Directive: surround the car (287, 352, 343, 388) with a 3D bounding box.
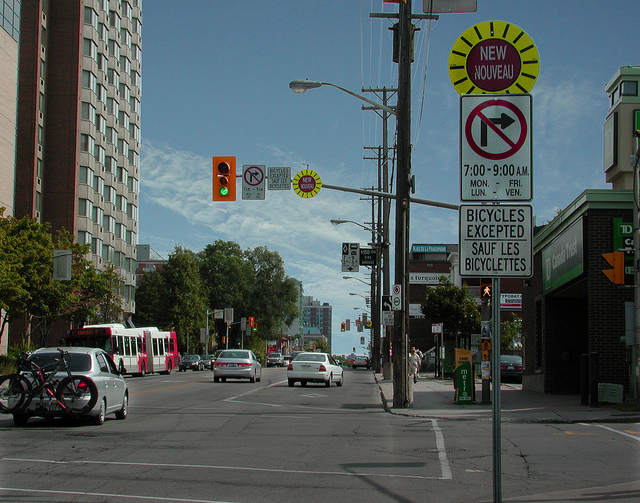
[{"bbox_3d":[-0.068,5.615,38.920,1.805,1.854,4.836,-1,-8,13],"label":"car"}]

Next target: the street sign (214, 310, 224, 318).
[{"bbox_3d":[-11.091,6.842,89.442,0.878,0.794,0.974,-1,1,-1],"label":"street sign"}]

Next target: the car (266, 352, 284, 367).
[{"bbox_3d":[-5.271,12.637,95.391,1.179,1.330,2.439,0,-12,-2],"label":"car"}]

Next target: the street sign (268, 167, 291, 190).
[{"bbox_3d":[-1.317,-2.400,26.492,0.742,0.794,0.752,1,-10,-4],"label":"street sign"}]

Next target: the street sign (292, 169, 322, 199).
[{"bbox_3d":[-0.419,-2.300,27.533,0.933,1.213,1.212,0,-10,-1],"label":"street sign"}]

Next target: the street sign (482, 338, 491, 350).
[{"bbox_3d":[5.216,2.866,25.484,0.230,0.366,0.732,-1,-11,7],"label":"street sign"}]

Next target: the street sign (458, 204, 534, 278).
[{"bbox_3d":[2.303,-0.139,10.629,0.964,0.960,0.428,-1,-9,9],"label":"street sign"}]

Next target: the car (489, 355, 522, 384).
[{"bbox_3d":[9.921,5.871,42.136,1.052,1.648,6.579,-2,-12,13],"label":"car"}]

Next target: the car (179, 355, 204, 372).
[{"bbox_3d":[-10.887,9.336,68.434,1.737,1.537,5.187,-1,-12,6],"label":"car"}]

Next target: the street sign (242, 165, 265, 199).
[{"bbox_3d":[-2.126,-2.279,26.148,0.768,1.326,0.032,0,35,-9],"label":"street sign"}]

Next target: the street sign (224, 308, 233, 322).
[{"bbox_3d":[-9.334,6.674,85.147,0.940,1.718,1.054,2,-3,-33],"label":"street sign"}]

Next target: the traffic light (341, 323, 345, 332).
[{"bbox_3d":[2.800,8.877,97.702,0.289,0.742,0.757,-1,-10,9],"label":"traffic light"}]

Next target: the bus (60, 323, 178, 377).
[{"bbox_3d":[-11.792,6.200,50.402,2.562,3.476,11.335,-6,-8,10],"label":"bus"}]

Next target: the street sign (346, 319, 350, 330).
[{"bbox_3d":[3.338,8.799,98.440,0.252,1.133,1.055,-3,-10,19],"label":"street sign"}]

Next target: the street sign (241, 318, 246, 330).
[{"bbox_3d":[-8.677,8.061,92.471,0.516,1.388,2.228,1,-11,-6],"label":"street sign"}]

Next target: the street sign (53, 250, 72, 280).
[{"bbox_3d":[-11.696,0.522,36.940,0.722,1.407,1.000,2,-9,-12],"label":"street sign"}]
